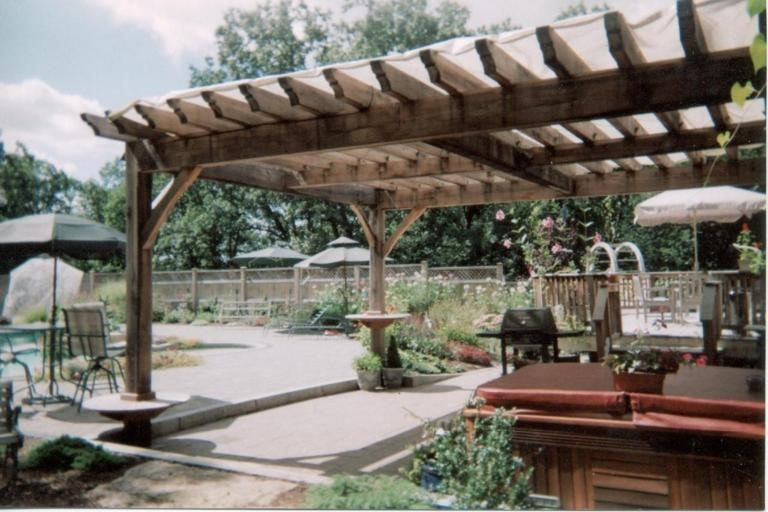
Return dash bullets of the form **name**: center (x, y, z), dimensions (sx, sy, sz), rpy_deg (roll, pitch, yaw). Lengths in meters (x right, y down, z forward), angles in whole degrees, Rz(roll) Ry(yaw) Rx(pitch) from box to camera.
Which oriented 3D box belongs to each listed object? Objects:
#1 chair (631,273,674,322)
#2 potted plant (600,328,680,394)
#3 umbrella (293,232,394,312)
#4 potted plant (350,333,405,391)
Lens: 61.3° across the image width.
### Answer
- **chair**: center (5.485, 0.808, 13.254), dimensions (0.754, 0.956, 2.215), rpy_deg (-2, -4, 21)
- **potted plant**: center (2.489, 1.105, 6.251), dimensions (0.726, 0.512, 0.705), rpy_deg (0, -16, 46)
- **umbrella**: center (-1.068, 0.564, 18.714), dimensions (2.301, 2.031, 2.276), rpy_deg (-5, 5, -34)
- **potted plant**: center (-0.162, 1.982, 11.857), dimensions (0.985, 1.012, 0.734), rpy_deg (-2, -2, -4)
